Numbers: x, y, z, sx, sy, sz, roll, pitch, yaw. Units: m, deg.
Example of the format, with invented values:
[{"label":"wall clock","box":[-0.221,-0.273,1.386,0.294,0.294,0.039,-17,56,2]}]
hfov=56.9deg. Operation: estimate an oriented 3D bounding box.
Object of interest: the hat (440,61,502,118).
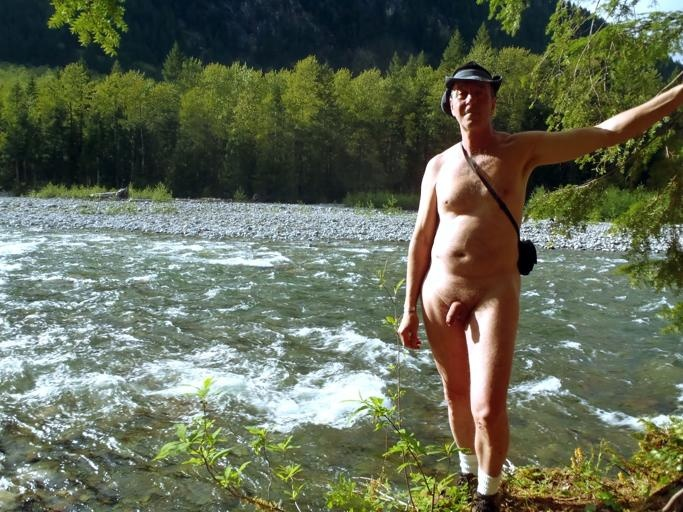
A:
[{"label":"hat","box":[0.997,-1.294,5.011,0.365,0.211,0.501,-3,-5,8]}]

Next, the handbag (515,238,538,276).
[{"label":"handbag","box":[1.411,0.007,4.869,0.171,0.246,0.087,1,19,5]}]

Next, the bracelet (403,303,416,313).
[{"label":"bracelet","box":[0.553,0.424,5.131,0.070,0.055,0.073,1,-6,18]}]

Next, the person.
[{"label":"person","box":[1.171,0.155,4.810,1.471,3.183,1.101,7,14,23]}]
